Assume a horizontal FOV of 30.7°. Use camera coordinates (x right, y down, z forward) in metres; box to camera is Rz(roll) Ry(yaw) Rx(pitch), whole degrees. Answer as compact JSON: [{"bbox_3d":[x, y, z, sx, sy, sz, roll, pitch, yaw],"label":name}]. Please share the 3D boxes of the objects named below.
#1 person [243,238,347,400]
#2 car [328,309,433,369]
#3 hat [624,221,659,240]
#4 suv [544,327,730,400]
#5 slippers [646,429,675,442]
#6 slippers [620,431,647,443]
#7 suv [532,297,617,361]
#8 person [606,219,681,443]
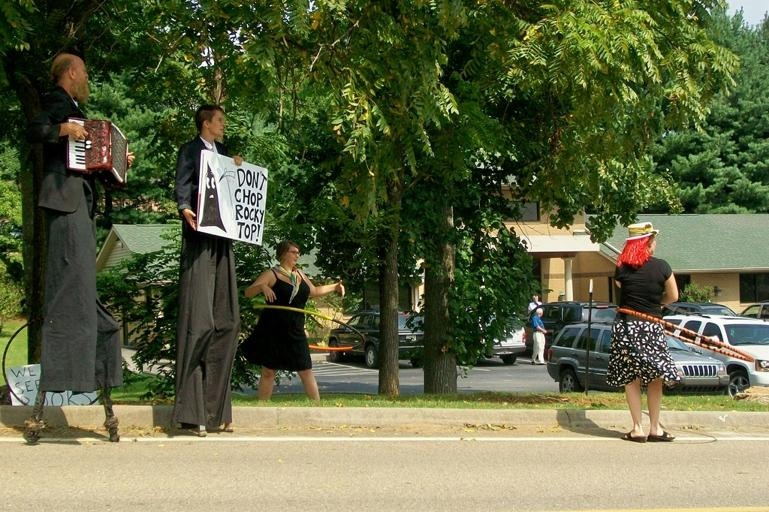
[{"bbox_3d":[-1.437,0.942,20.365,1.223,2.359,0.829,-1,-3,-12],"label":"person"},{"bbox_3d":[-0.478,2.320,37.767,1.567,1.228,3.241,-1,3,-33],"label":"car"},{"bbox_3d":[3.604,-0.303,19.571,0.368,0.109,0.341,-11,12,3],"label":"hat"},{"bbox_3d":[5.019,2.157,29.012,1.748,1.221,3.222,2,-5,-36],"label":"suv"},{"bbox_3d":[3.793,2.492,19.345,0.328,0.113,0.146,-1,-1,0],"label":"slippers"},{"bbox_3d":[3.446,2.503,19.342,0.127,0.094,0.322,1,1,-42],"label":"slippers"},{"bbox_3d":[5.368,2.050,39.621,1.565,1.136,2.750,-1,3,-42],"label":"suv"},{"bbox_3d":[3.570,1.036,19.468,1.001,3.055,0.435,-2,-3,7],"label":"person"}]
